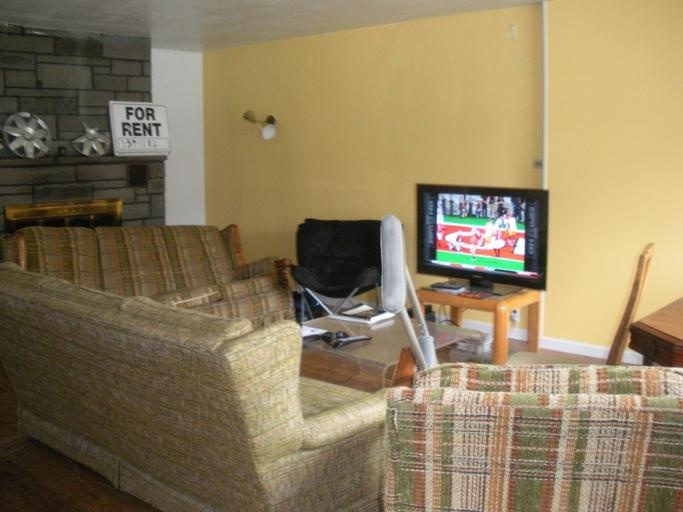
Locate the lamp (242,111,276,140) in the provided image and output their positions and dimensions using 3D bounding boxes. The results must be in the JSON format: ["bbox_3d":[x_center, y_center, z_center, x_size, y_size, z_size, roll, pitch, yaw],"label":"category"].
[{"bbox_3d":[-0.907,-1.462,6.354,0.309,0.321,0.575,-9,15,-34],"label":"lamp"}]

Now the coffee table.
[{"bbox_3d":[0.096,0.649,3.821,0.914,0.393,0.825,5,9,45],"label":"coffee table"}]

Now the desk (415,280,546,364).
[{"bbox_3d":[1.189,0.413,4.515,0.748,0.484,0.735,-4,6,-45],"label":"desk"}]

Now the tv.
[{"bbox_3d":[1.133,-0.170,4.528,0.961,0.595,0.248,4,7,30],"label":"tv"}]

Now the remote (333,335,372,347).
[{"bbox_3d":[0.055,0.511,3.551,0.260,0.062,0.072,5,11,-35],"label":"remote"}]
